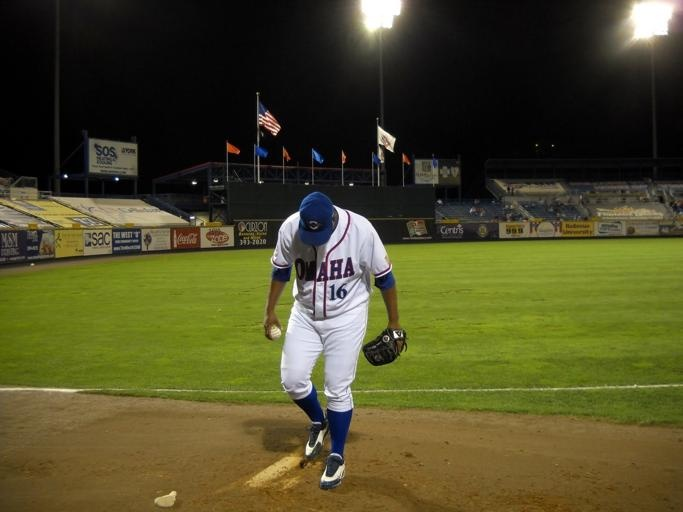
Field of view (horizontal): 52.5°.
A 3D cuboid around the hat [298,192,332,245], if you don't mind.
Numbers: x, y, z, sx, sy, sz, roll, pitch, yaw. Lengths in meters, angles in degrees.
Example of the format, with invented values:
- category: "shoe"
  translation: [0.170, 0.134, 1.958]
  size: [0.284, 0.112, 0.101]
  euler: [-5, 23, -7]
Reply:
- category: "hat"
  translation: [-0.233, -0.330, 6.264]
  size: [0.315, 0.448, 0.253]
  euler: [1, -3, 9]

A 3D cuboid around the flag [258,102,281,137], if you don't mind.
- category: "flag"
  translation: [-3.491, -6.456, 32.828]
  size: [0.917, 1.429, 1.286]
  euler: [-2, 9, -7]

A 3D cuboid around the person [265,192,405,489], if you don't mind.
- category: "person"
  translation: [-0.072, 0.695, 6.429]
  size: [1.268, 2.541, 0.860]
  euler: [-2, 9, -7]

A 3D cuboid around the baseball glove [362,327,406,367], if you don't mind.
- category: "baseball glove"
  translation: [0.424, 0.874, 6.731]
  size: [0.424, 0.300, 0.188]
  euler: [-41, 1, -6]

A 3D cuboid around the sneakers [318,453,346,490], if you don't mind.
- category: "sneakers"
  translation: [-0.085, 1.931, 6.184]
  size: [0.136, 0.164, 0.368]
  euler: [4, 0, 11]

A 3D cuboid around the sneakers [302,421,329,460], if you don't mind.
- category: "sneakers"
  translation: [-0.230, 1.786, 6.640]
  size: [0.138, 0.414, 0.197]
  euler: [-2, -31, 34]

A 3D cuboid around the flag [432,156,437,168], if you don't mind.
- category: "flag"
  translation: [7.286, -7.285, 54.416]
  size: [0.417, 0.673, 1.359]
  euler: [0, 9, 6]

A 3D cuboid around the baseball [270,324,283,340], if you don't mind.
- category: "baseball"
  translation: [-0.629, 0.734, 6.627]
  size: [0.130, 0.124, 0.127]
  euler: [-2, 1, 1]
